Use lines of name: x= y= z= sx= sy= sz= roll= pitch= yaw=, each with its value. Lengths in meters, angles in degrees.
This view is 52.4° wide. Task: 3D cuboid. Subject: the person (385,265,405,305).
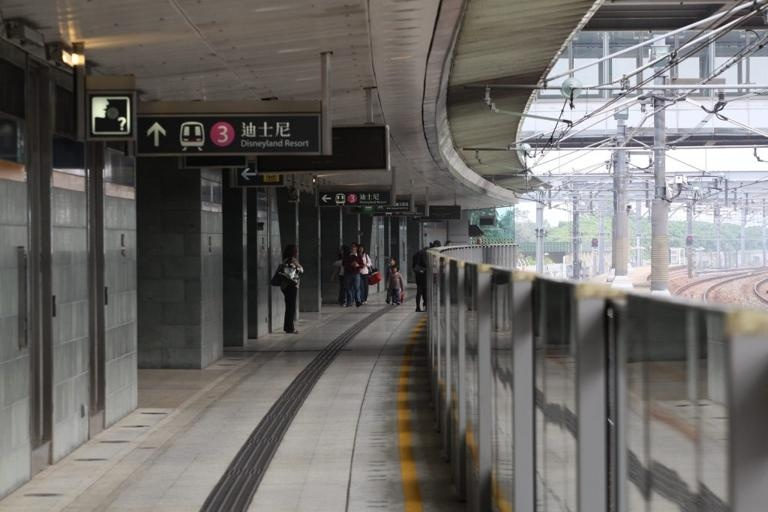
person: x=0.381 y=0.935 z=25.964 sx=0.531 sy=1.406 sz=1.688 roll=0 pitch=4 yaw=-2

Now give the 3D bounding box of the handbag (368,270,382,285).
handbag: x=-0.265 y=0.756 z=24.869 sx=0.366 sy=0.477 sz=0.484 roll=0 pitch=-34 yaw=-19

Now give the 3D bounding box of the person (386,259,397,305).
person: x=0.367 y=0.905 z=25.934 sx=0.445 sy=1.593 sz=0.437 roll=4 pitch=28 yaw=-2

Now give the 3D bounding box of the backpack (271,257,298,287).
backpack: x=-2.145 y=0.372 z=16.951 sx=0.533 sy=0.483 sz=0.296 roll=-24 pitch=8 yaw=-14
